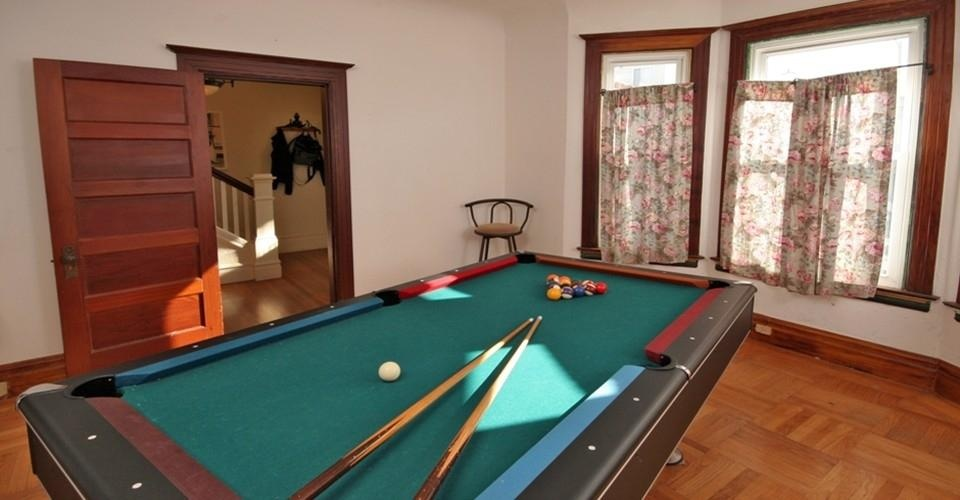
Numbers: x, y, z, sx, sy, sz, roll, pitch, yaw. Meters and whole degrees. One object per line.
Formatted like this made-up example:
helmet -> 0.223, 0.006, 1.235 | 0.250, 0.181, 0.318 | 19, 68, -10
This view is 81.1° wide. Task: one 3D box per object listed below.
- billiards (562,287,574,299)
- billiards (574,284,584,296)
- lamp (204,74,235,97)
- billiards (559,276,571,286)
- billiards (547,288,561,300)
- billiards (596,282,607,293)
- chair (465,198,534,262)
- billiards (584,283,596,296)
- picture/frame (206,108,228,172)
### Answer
billiards -> 0.709, 0.338, 4.503 | 0.089, 0.077, 0.082 | 3, 14, 20
billiards -> 0.803, 0.325, 4.566 | 0.087, 0.087, 0.080 | -12, 14, -11
lamp -> -3.716, -2.330, 7.967 | 0.408, 0.252, 1.610 | -6, 13, -22
billiards -> 0.703, 0.248, 4.592 | 0.086, 0.033, 0.080 | 4, 10, 6
billiards -> 0.608, 0.339, 4.486 | 0.115, 0.096, 0.080 | -11, 16, -36
billiards -> 1.003, 0.299, 4.561 | 0.094, 0.041, 0.087 | -1, 16, 17
chair -> 0.247, -0.181, 7.105 | 0.884, 0.791, 0.655 | 1, -5, 5
billiards -> 0.893, 0.310, 4.552 | 0.084, 0.091, 0.086 | 1, 13, 10
picture/frame -> -4.058, -1.683, 8.641 | 0.226, 0.855, 0.160 | -8, 16, -21
